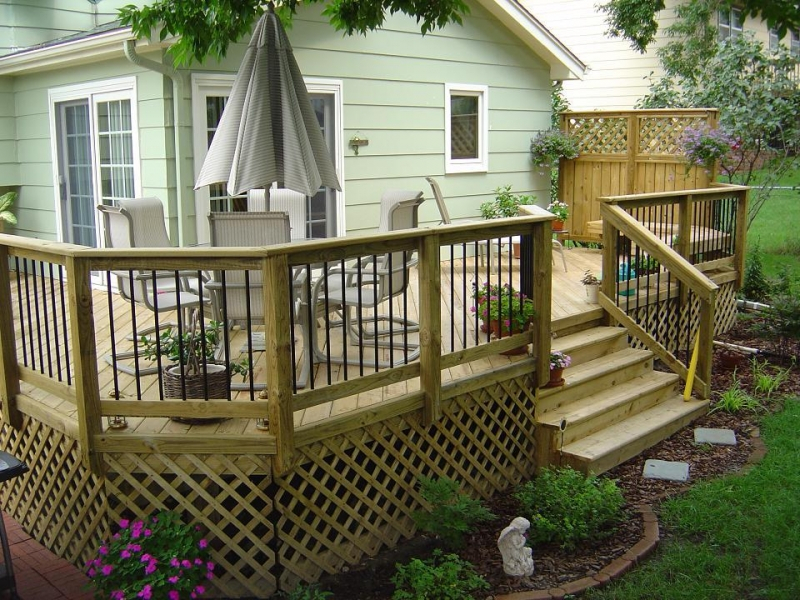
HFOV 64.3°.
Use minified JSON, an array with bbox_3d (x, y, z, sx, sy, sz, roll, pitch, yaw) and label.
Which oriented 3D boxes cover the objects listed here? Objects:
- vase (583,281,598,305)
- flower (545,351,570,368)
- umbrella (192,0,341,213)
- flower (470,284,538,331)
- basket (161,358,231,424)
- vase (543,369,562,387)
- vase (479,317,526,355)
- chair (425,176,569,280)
[{"bbox_3d":[2.152,-0.078,7.142,0.123,0.228,0.270,-5,12,-7],"label":"vase"},{"bbox_3d":[1.469,0.545,5.786,0.189,0.111,0.173,0,13,13],"label":"flower"},{"bbox_3d":[-0.941,-1.484,4.698,0.907,1.399,0.722,-15,17,-43],"label":"umbrella"},{"bbox_3d":[0.923,0.032,5.630,0.498,0.218,0.477,7,23,8],"label":"flower"},{"bbox_3d":[-1.320,0.581,4.193,0.475,0.286,0.435,-1,6,-9],"label":"basket"},{"bbox_3d":[1.415,0.714,5.747,0.177,0.140,0.163,-1,1,-3],"label":"vase"},{"bbox_3d":[0.936,0.312,5.667,0.354,0.238,0.370,0,5,-2],"label":"vase"},{"bbox_3d":[1.286,-1.013,8.237,2.388,1.434,1.108,-4,16,-3],"label":"chair"}]
